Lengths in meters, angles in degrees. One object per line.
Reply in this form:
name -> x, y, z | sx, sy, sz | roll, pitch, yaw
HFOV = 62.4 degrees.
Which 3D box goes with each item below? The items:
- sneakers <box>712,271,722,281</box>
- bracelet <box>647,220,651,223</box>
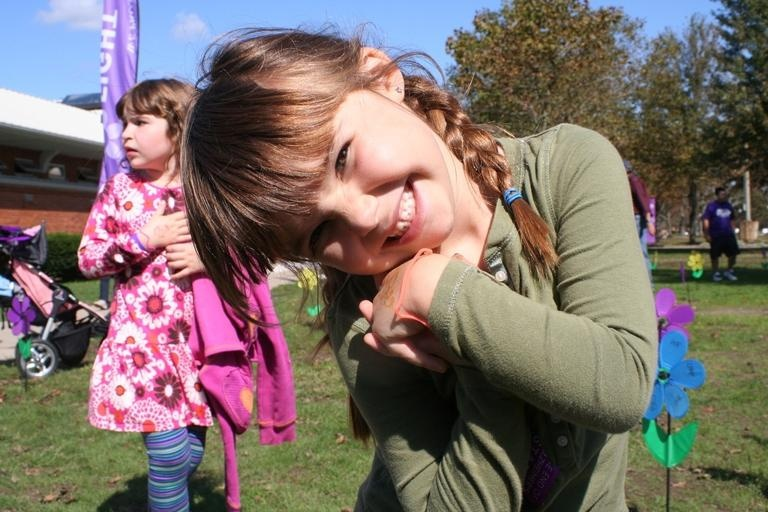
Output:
sneakers -> 8.128, 0.475, 15.440 | 0.168, 0.233, 0.513 | -5, -3, 1
bracelet -> 4.676, -0.626, 11.198 | 0.032, 0.034, 0.033 | -6, 11, -26
